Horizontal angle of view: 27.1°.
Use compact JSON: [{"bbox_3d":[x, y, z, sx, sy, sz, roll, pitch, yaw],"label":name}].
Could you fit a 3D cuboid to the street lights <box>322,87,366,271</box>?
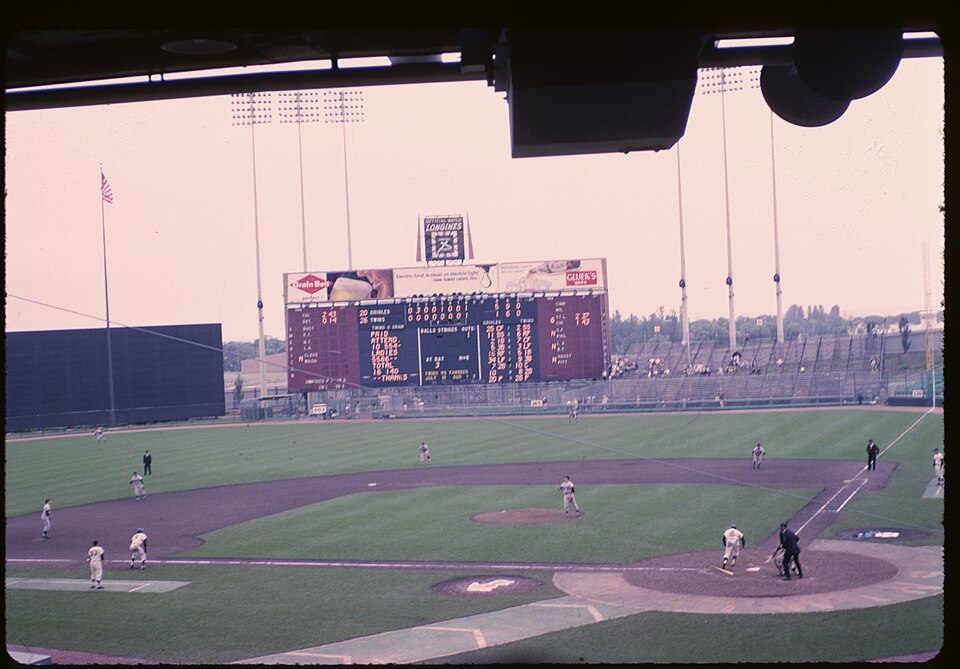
[{"bbox_3d":[-1.531,-1.908,22.678,0.449,2.209,0.047,-1,-27,-2],"label":"street lights"}]
